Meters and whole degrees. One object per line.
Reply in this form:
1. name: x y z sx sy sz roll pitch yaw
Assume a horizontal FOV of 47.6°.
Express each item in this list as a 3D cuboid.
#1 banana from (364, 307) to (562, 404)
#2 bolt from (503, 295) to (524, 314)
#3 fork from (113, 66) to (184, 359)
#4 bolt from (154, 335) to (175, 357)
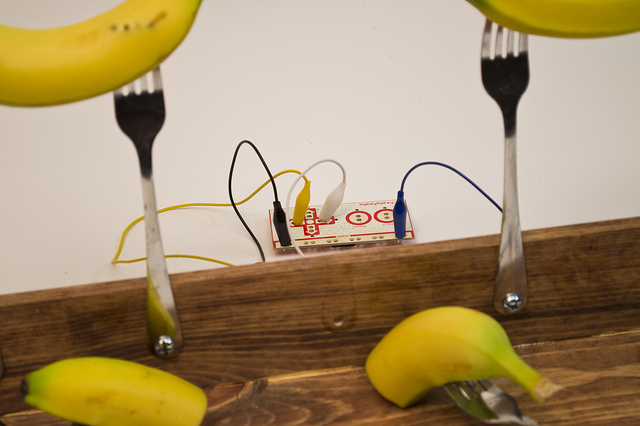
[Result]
1. banana: 0.157 0.158 0.808 0.191 0.123 0.052 5 -6 33
2. bolt: 0.253 0.121 0.952 0.021 0.025 0.008 -4 17 -8
3. fork: -0.211 0.003 0.912 0.060 0.357 0.065 -7 13 -17
4. bolt: -0.197 0.167 0.916 0.023 0.028 0.010 5 10 -8
